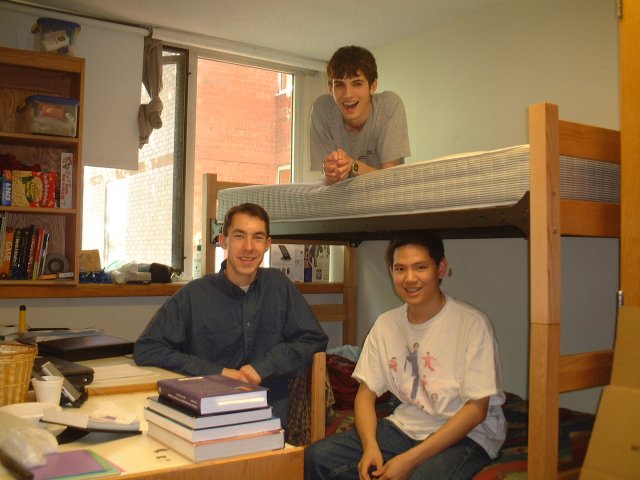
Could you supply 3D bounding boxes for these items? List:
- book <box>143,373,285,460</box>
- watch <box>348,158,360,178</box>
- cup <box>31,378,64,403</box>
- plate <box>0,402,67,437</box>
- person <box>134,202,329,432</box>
[{"bbox_3d":[-0.310,0.480,1.348,0.395,0.168,0.172,-1,2,19],"label":"book"},{"bbox_3d":[0.192,-0.402,2.839,0.063,0.104,0.091,-1,8,-40],"label":"watch"},{"bbox_3d":[-0.803,0.443,1.489,0.078,0.067,0.081,0,-4,0],"label":"cup"},{"bbox_3d":[-0.778,0.473,1.369,0.109,0.039,0.114,7,0,-8],"label":"plate"},{"bbox_3d":[-0.411,0.514,2.381,0.959,1.285,0.645,3,3,-9],"label":"person"}]
